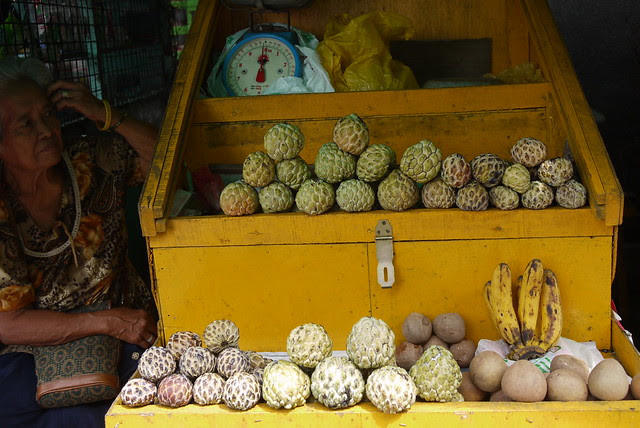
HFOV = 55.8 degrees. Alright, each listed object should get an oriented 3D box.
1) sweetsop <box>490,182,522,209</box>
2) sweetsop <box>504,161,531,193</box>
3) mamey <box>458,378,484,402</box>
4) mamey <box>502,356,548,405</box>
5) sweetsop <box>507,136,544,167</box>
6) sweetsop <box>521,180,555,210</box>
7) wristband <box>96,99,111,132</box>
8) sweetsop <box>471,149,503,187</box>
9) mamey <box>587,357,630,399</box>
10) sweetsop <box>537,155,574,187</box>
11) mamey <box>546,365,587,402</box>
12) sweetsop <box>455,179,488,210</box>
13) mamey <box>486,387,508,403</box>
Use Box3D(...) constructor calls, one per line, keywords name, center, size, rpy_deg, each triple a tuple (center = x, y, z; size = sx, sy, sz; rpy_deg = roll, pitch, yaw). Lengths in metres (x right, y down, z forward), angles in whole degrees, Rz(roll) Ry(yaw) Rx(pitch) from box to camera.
Box3D(name="sweetsop", center=(0.947, -0.081, 3.114), size=(0.100, 0.097, 0.136), rpy_deg=(21, -5, 16))
Box3D(name="sweetsop", center=(1.014, -0.181, 3.165), size=(0.116, 0.133, 0.141), rpy_deg=(-39, 29, -22))
Box3D(name="mamey", center=(0.727, 0.863, 2.985), size=(0.094, 0.122, 0.096), rpy_deg=(-27, 0, -32))
Box3D(name="mamey", center=(0.950, 0.766, 2.840), size=(0.186, 0.161, 0.234), rpy_deg=(-1, 9, 23))
Box3D(name="sweetsop", center=(1.080, -0.318, 3.143), size=(0.139, 0.121, 0.145), rpy_deg=(4, -1, 28))
Box3D(name="sweetsop", center=(1.127, -0.115, 3.157), size=(0.127, 0.143, 0.164), rpy_deg=(-20, 2, -24))
Box3D(name="wristband", center=(-1.332, -0.583, 3.745), size=(0.053, 0.147, 0.147), rpy_deg=(4, -21, -33))
Box3D(name="sweetsop", center=(0.884, -0.222, 3.138), size=(0.211, 0.181, 0.100), rpy_deg=(-9, 17, -13))
Box3D(name="mamey", center=(1.338, 0.767, 2.847), size=(0.164, 0.200, 0.163), rpy_deg=(0, -1, 44))
Box3D(name="sweetsop", center=(1.209, -0.198, 3.088), size=(0.137, 0.124, 0.149), rpy_deg=(-13, -6, 15))
Box3D(name="mamey", center=(1.154, 0.820, 2.821), size=(0.180, 0.131, 0.122), rpy_deg=(2, 18, 20))
Box3D(name="sweetsop", center=(0.784, -0.085, 3.113), size=(0.124, 0.103, 0.154), rpy_deg=(-9, 38, 10))
Box3D(name="mamey", center=(0.845, 0.878, 2.892), size=(0.062, 0.065, 0.078), rpy_deg=(13, 41, -37))
